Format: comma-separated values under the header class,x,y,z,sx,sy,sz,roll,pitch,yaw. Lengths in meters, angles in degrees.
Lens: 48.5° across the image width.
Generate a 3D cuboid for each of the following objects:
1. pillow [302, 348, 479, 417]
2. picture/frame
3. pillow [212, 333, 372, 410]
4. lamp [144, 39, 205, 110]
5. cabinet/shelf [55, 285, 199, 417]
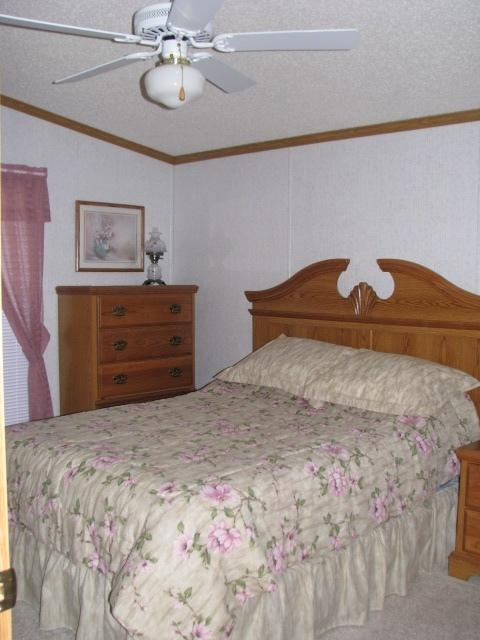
class,x,y,z,sx,sy,sz,roll,pitch,yaw
pillow,0.772,0.346,2.906,0.506,0.134,0.492,10,20,42
picture/frame,-1.095,-0.695,4.408,0.023,0.542,0.655,4,7,45
pillow,0.362,0.272,3.672,1.037,0.186,1.033,-9,-2,-1
lamp,-0.227,-0.854,1.945,0.233,0.259,0.210,-1,-1,-1
cabinet/shelf,-0.880,0.220,3.941,0.971,0.920,0.499,-6,8,-42
